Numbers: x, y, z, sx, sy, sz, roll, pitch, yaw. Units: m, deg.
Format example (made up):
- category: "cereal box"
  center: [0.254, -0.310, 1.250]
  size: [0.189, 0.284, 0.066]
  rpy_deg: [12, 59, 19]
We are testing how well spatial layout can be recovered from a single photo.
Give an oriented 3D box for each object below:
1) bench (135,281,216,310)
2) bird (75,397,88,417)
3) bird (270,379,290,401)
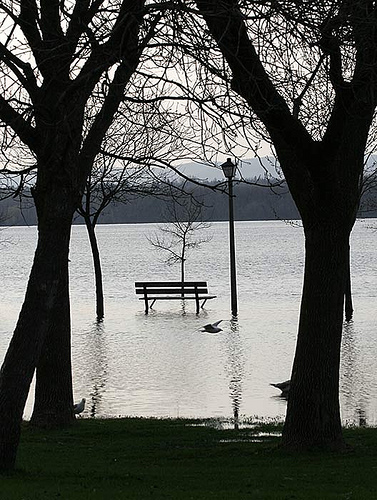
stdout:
- category: "bench"
  center: [-0.485, 1.461, 28.467]
  size: [2.102, 0.865, 4.405]
  rpy_deg: [0, -3, 0]
- category: "bird"
  center: [-1.535, 2.200, 12.428]
  size: [0.267, 0.209, 0.133]
  rpy_deg: [-25, -23, 31]
- category: "bird"
  center: [1.405, 2.123, 13.509]
  size: [0.148, 0.275, 0.367]
  rpy_deg: [1, -3, -19]
